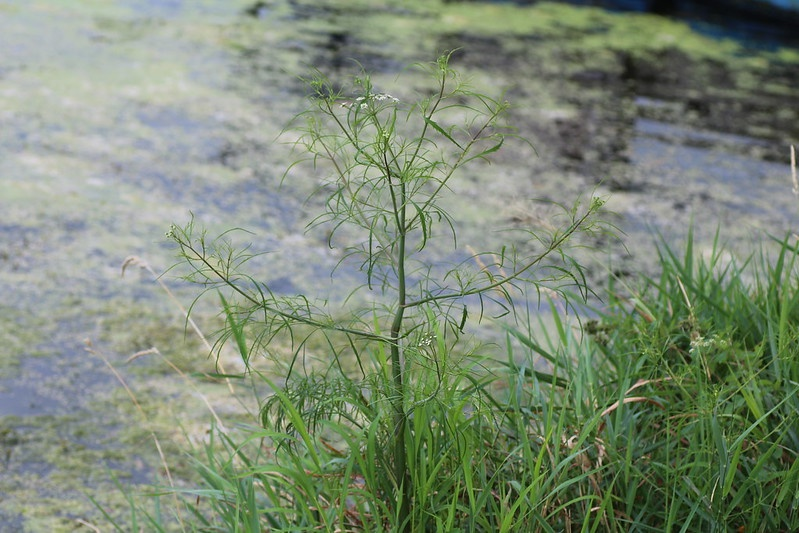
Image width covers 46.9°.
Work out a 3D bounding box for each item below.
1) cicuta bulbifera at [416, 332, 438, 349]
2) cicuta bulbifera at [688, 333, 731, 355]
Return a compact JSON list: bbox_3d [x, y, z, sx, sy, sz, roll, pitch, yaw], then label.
[{"bbox_3d":[0.082,0.209,2.624,0.074,0.040,0.013,-24,-21,29],"label":"cicuta bulbifera"},{"bbox_3d":[0.917,0.233,2.736,0.108,0.034,0.100,-15,18,-19],"label":"cicuta bulbifera"}]
